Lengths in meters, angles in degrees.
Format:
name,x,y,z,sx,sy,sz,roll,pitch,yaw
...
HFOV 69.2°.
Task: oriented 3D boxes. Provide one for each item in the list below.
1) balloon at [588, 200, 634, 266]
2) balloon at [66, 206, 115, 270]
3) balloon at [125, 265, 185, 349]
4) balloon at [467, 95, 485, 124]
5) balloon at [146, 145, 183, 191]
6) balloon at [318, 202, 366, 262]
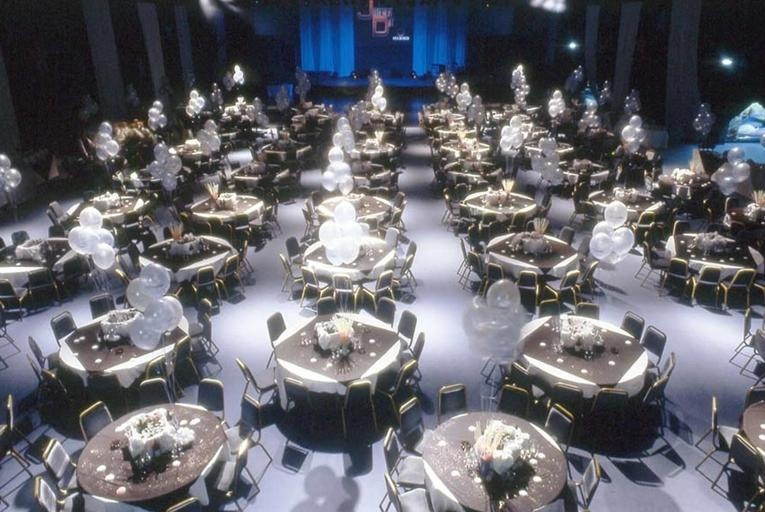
name,x,y,z,sx,sy,sz,roll,pitch,yaw
balloon,5.291,-0.675,13.093,1.032,0.732,1.854,17,23,-1
balloon,-6.522,-0.351,12.325,0.917,0.656,1.687,-3,32,-38
balloon,-4.137,1.132,10.343,1.014,1.720,1.605,8,9,-14
balloon,4.169,-6.548,24.264,1.011,1.657,0.481,0,-9,6
balloon,-6.639,-2.624,17.165,0.898,1.844,0.531,6,-12,14
balloon,-0.936,-0.537,12.475,0.785,0.534,1.454,3,50,-10
